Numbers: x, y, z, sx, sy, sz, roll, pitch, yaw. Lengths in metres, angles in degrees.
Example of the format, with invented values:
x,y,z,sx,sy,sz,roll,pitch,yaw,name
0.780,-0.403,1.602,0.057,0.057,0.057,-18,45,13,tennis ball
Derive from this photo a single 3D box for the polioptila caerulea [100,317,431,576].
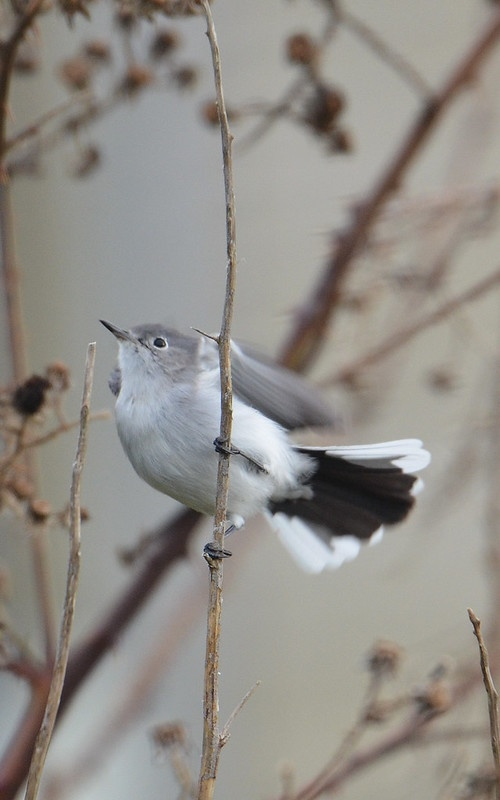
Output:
x,y,z,sx,sy,sz,roll,pitch,yaw,name
0.056,0.122,3.361,1.000,0.518,0.723,17,-23,-27,polioptila caerulea
